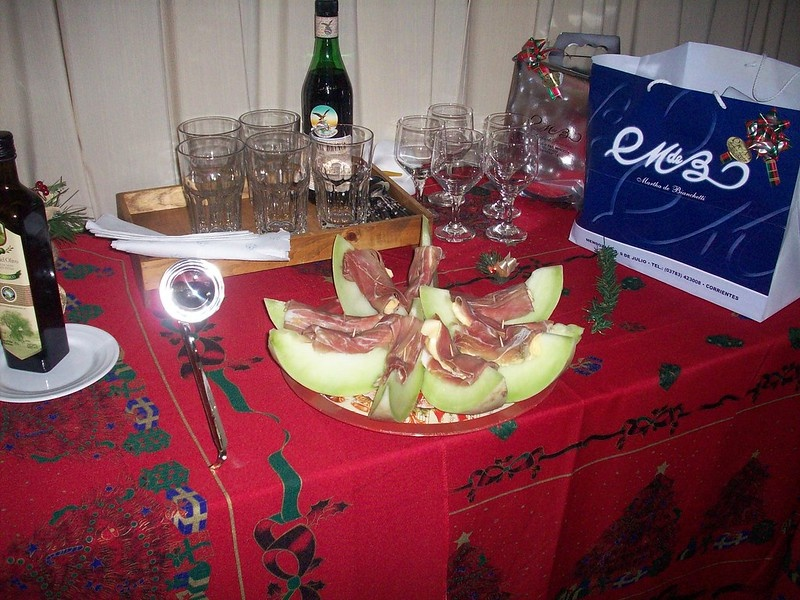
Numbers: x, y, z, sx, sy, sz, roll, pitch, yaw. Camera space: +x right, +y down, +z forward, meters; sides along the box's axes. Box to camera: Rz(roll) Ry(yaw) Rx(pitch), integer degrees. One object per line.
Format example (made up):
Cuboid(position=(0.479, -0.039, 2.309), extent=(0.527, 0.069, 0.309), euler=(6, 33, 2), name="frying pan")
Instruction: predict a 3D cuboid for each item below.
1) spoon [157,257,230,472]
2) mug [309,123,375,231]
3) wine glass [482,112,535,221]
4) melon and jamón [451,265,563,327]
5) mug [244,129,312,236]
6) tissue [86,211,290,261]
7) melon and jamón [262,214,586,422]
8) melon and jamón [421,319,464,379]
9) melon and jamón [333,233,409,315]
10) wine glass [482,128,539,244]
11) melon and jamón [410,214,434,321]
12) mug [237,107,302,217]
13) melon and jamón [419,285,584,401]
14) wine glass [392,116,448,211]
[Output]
Cuboid(position=(-0.266, 0.073, 0.738), extent=(0.086, 0.291, 0.042), euler=(-2, -12, -31), name="spoon")
Cuboid(position=(-0.112, -0.233, 1.064), extent=(0.111, 0.179, 0.114), euler=(14, 25, 25), name="mug")
Cuboid(position=(0.219, -0.264, 1.122), extent=(0.104, 0.226, 0.107), euler=(-18, 45, -14), name="wine glass")
Cuboid(position=(0.177, -0.013, 0.813), extent=(0.086, 0.031, 0.081), euler=(-32, 41, 27), name="melon and jamón")
Cuboid(position=(-0.218, -0.212, 1.009), extent=(0.112, 0.175, 0.115), euler=(30, 45, 25), name="mug")
Cuboid(position=(-0.313, -0.084, 0.884), extent=(0.298, 0.048, 0.122), euler=(-1, 33, -15), name="tissue")
Cuboid(position=(0.031, 0.056, 0.721), extent=(0.277, 0.092, 0.307), euler=(4, 34, -4), name="melon and jamón")
Cuboid(position=(0.047, 0.064, 0.726), extent=(0.068, 0.028, 0.044), euler=(37, 64, 24), name="melon and jamón")
Cuboid(position=(-0.045, -0.019, 0.801), extent=(0.076, 0.037, 0.122), euler=(-24, 68, -30), name="melon and jamón")
Cuboid(position=(0.217, -0.224, 1.105), extent=(0.111, 0.251, 0.119), euler=(-7, 38, -6), name="wine glass")
Cuboid(position=(0.032, -0.047, 0.799), extent=(0.034, 0.151, 0.023), euler=(1, -4, 1), name="melon and jamón")
Cuboid(position=(-0.251, -0.351, 1.232), extent=(0.147, 0.177, 0.175), euler=(-4, 39, -6), name="mug")
Cuboid(position=(0.124, 0.033, 0.735), extent=(0.186, 0.067, 0.149), euler=(-2, 20, -15), name="melon and jamón")
Cuboid(position=(0.040, -0.274, 1.141), extent=(0.096, 0.249, 0.111), euler=(2, 40, 2), name="wine glass")
